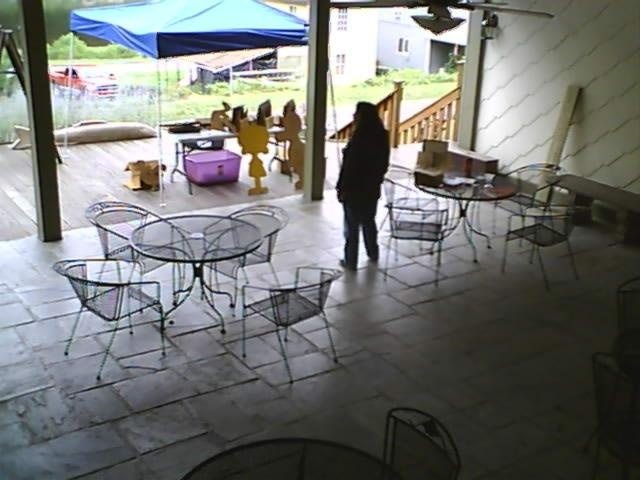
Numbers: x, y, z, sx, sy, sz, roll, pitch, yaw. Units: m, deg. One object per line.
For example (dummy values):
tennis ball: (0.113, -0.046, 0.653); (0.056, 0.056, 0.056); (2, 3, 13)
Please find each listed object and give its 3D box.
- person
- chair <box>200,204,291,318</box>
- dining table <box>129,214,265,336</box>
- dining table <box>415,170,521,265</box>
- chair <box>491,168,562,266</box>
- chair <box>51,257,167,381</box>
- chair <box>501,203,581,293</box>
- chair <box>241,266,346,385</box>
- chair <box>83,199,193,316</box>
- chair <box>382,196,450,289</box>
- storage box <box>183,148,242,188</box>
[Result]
person: (0.504, -0.594, 6.361); (0.623, 1.841, 0.547); (-5, 26, -15)
chair: (-0.866, 0.152, 6.013); (1.173, 0.915, 1.075); (7, 14, 9)
dining table: (-1.260, 0.329, 5.770); (1.323, 0.811, 1.192); (-1, 28, -8)
dining table: (1.744, -0.297, 6.842); (1.221, 0.780, 1.183); (14, 29, 38)
chair: (2.579, -0.444, 7.266); (0.768, 1.001, 0.700); (22, -13, 0)
chair: (-1.928, 0.750, 5.104); (0.714, 0.817, 0.803); (25, 30, 33)
chair: (2.632, 0.128, 6.692); (0.849, 0.997, 0.772); (-11, 25, -21)
chair: (-0.259, 0.706, 5.068); (0.780, 0.869, 0.830); (31, 26, 27)
chair: (-1.862, 0.208, 5.677); (0.819, 0.968, 0.793); (-15, 46, -23)
chair: (1.113, -0.024, 6.615); (0.841, 0.803, 0.695); (8, 15, 22)
storage box: (-1.858, -1.153, 9.385); (0.782, 0.402, 0.976); (-13, 18, -32)
